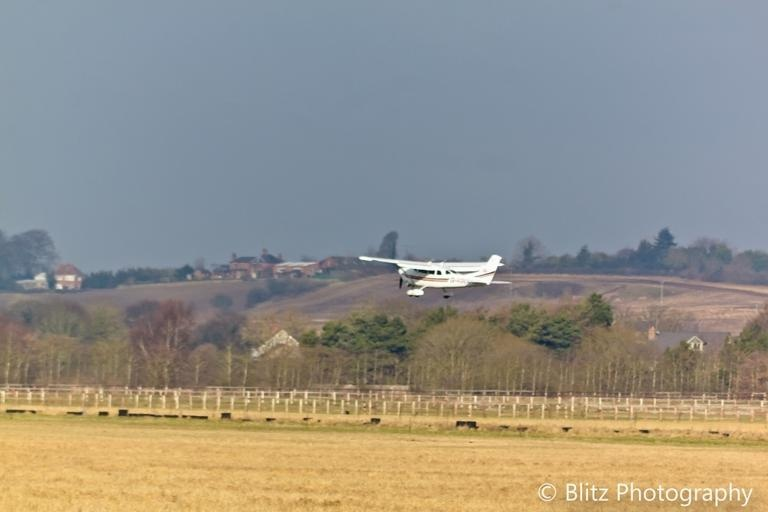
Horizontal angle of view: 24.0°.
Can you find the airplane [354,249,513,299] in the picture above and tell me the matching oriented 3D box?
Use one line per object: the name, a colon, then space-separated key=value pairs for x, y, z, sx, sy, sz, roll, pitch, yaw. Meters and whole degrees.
airplane: x=4.185 y=1.811 z=132.295 sx=6.891 sy=3.084 sz=12.039 roll=2 pitch=-8 yaw=0
